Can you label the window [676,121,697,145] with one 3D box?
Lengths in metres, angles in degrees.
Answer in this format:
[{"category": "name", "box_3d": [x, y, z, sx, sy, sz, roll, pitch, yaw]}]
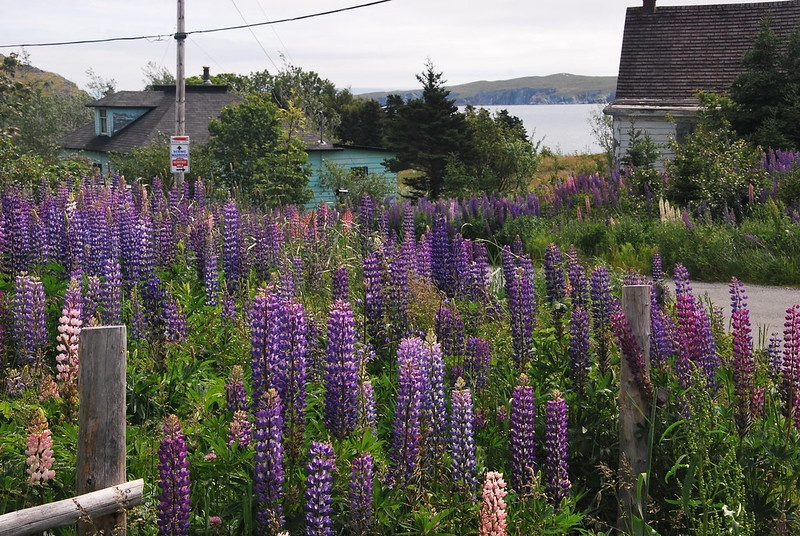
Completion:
[{"category": "window", "box_3d": [9.464, -4.506, 31.934, 0.695, 0.750, 0.982, 2, 7, 17]}]
